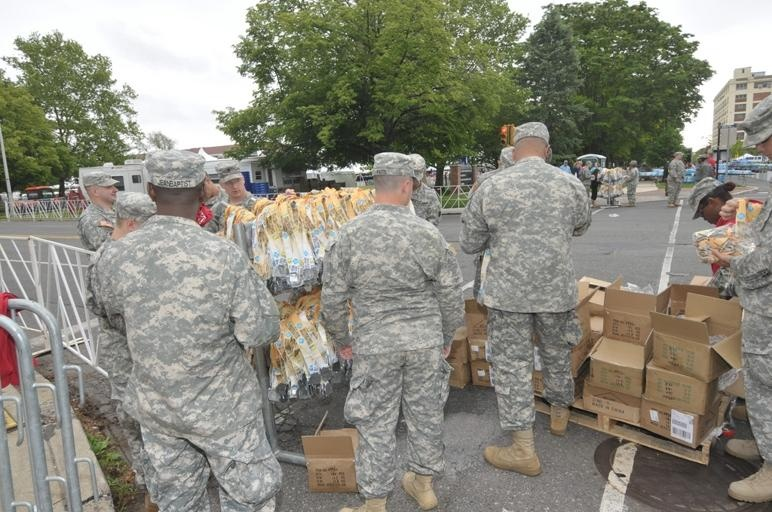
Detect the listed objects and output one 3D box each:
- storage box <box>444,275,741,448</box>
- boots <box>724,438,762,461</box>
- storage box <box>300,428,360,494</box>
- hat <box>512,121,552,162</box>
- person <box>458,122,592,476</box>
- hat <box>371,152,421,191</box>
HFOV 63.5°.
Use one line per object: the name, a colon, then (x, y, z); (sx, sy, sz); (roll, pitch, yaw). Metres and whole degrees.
storage box: (2.266, 0.996, 6.322); (2.235, 0.933, 1.339); (5, 14, 36)
boots: (3.253, 1.761, 5.701); (0.313, 0.133, 0.123); (8, 48, 21)
storage box: (-0.489, 1.835, 5.775); (0.527, 0.496, 0.526); (-1, 7, 0)
hat: (1.357, -1.063, 5.810); (0.314, 0.335, 0.386); (3, 6, 9)
person: (1.291, 0.381, 5.695); (1.095, 3.103, 0.917); (-3, 14, -5)
hat: (0.075, -0.737, 5.260); (0.354, 0.185, 0.245); (-2, 18, 5)
